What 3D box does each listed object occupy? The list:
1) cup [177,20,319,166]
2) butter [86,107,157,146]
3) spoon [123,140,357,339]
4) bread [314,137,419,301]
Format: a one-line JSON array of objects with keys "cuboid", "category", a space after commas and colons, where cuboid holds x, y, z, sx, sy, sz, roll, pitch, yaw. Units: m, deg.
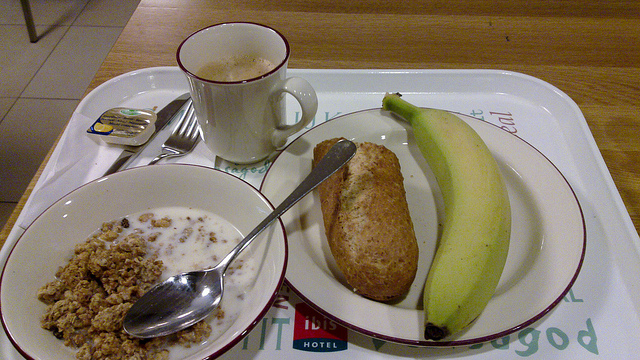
[{"cuboid": [-0.217, -0.299, 1.609, 0.494, 0.443, 0.538, 7, 32, -4], "category": "cup"}, {"cuboid": [-0.679, -0.202, 1.546, 0.119, 0.112, 0.247, 17, 29, 40], "category": "butter"}, {"cuboid": [-0.206, 0.195, 1.287, 0.762, 0.089, 0.164, -36, 70, -14], "category": "spoon"}, {"cuboid": [0.137, 0.110, 1.417, 0.280, 0.158, 0.472, -4, 61, -4], "category": "bread"}]
